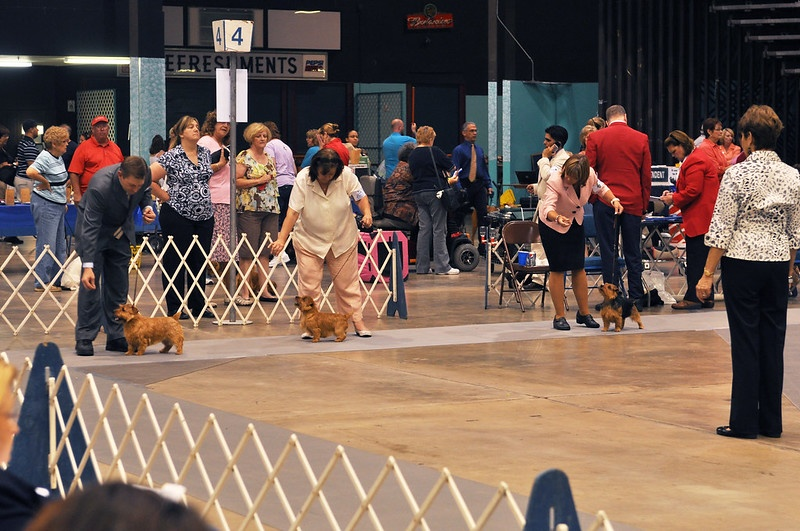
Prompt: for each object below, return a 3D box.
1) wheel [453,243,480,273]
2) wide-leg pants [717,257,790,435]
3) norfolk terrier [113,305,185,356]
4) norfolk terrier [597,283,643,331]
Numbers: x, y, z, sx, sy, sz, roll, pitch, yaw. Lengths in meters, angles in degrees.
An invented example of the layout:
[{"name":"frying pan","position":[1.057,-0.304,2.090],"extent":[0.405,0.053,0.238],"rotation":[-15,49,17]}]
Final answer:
[{"name":"wheel","position":[0.980,-0.101,17.407],"extent":[0.407,0.446,0.149],"rotation":[2,2,-32]},{"name":"wide-leg pants","position":[2.757,0.650,8.861],"extent":[0.509,1.406,0.307],"rotation":[1,4,14]},{"name":"norfolk terrier","position":[-2.487,0.636,11.123],"extent":[0.814,0.549,0.333],"rotation":[3,-8,-21]},{"name":"norfolk terrier","position":[2.417,0.485,12.554],"extent":[0.305,0.566,0.874],"rotation":[8,6,40]}]
